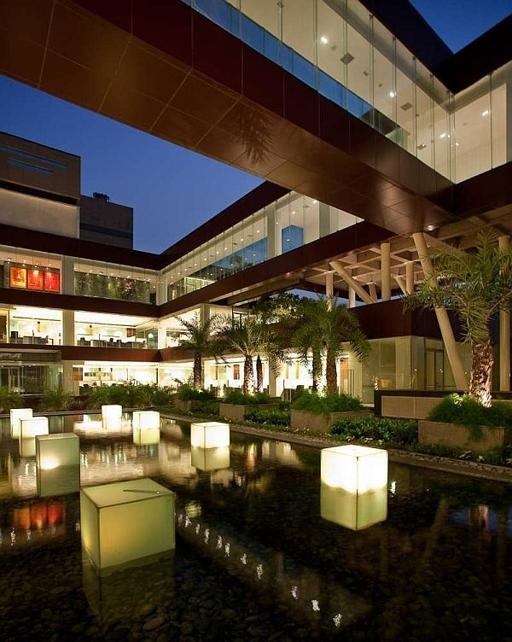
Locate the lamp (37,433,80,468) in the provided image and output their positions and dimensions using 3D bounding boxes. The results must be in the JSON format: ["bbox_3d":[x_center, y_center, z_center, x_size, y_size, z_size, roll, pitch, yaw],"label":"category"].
[{"bbox_3d":[-3.759,2.474,9.518,0.547,0.568,1.101,-3,-4,26],"label":"lamp"}]

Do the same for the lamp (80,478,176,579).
[{"bbox_3d":[-1.517,2.191,5.581,0.780,0.678,0.776,4,-7,-44],"label":"lamp"}]

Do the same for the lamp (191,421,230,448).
[{"bbox_3d":[-1.132,2.672,11.923,0.633,0.513,0.638,3,-6,-34],"label":"lamp"}]

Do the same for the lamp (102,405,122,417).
[{"bbox_3d":[-5.724,3.622,20.246,0.686,0.497,0.487,1,-4,-29],"label":"lamp"}]

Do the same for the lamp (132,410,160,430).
[{"bbox_3d":[-3.332,2.966,15.071,0.619,0.556,1.032,-2,-4,20],"label":"lamp"}]

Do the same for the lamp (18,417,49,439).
[{"bbox_3d":[-5.832,2.801,13.344,0.588,0.422,1.111,-2,-3,11],"label":"lamp"}]
